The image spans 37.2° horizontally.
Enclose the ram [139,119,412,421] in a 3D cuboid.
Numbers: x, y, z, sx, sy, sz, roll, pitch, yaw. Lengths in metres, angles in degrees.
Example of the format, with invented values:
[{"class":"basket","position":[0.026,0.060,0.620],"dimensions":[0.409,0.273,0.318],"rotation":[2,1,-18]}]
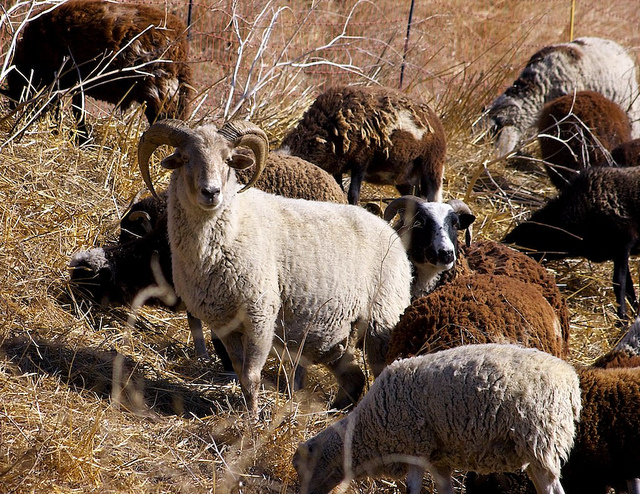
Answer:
[{"class":"ram","position":[-0.467,0.314,8.293],"dimensions":[1.314,2.494,2.687],"rotation":[0,-3,42]}]

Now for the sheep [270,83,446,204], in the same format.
[{"class":"sheep","position":[0.367,-1.004,10.345],"dimensions":[2.348,1.522,0.750],"rotation":[-5,24,-29]}]

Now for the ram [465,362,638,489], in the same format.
[{"class":"ram","position":[1.832,1.379,7.174],"dimensions":[1.706,1.111,0.534],"rotation":[-6,-7,-2]}]

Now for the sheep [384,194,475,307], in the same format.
[{"class":"sheep","position":[0.968,0.086,9.026],"dimensions":[0.793,1.193,1.616],"rotation":[1,8,-7]}]

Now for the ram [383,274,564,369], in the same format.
[{"class":"ram","position":[1.267,0.525,7.623],"dimensions":[0.911,0.905,1.407],"rotation":[5,13,30]}]

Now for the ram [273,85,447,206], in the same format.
[{"class":"ram","position":[0.557,-1.084,10.713],"dimensions":[2.106,1.626,0.945],"rotation":[6,2,-18]}]

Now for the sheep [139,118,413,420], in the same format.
[{"class":"sheep","position":[-0.399,0.306,8.374],"dimensions":[1.310,2.427,2.777],"rotation":[5,-1,44]}]
